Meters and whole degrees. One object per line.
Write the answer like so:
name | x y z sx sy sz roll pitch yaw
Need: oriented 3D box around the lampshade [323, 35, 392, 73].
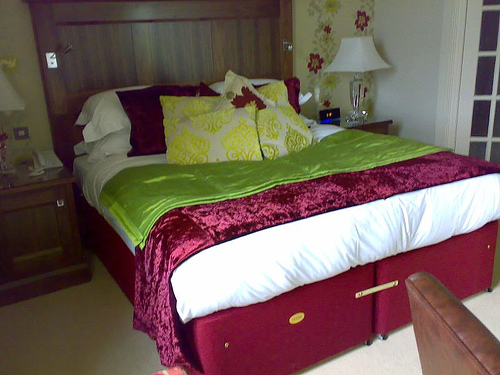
lampshade | 1.069 -1.316 3.900 0.410 0.249 0.421 -15 25 -20
